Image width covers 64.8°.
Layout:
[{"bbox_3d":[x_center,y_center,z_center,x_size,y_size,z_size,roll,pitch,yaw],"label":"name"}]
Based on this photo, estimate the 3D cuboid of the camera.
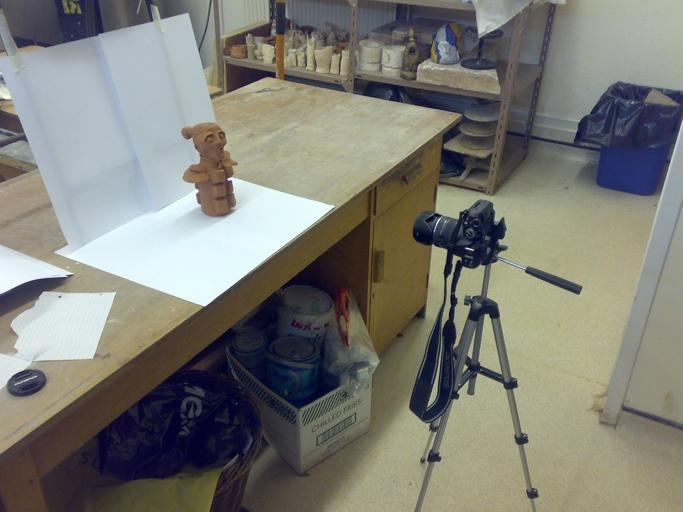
[{"bbox_3d":[0.309,-0.047,1.401,0.202,0.145,0.178,16,73,19],"label":"camera"}]
